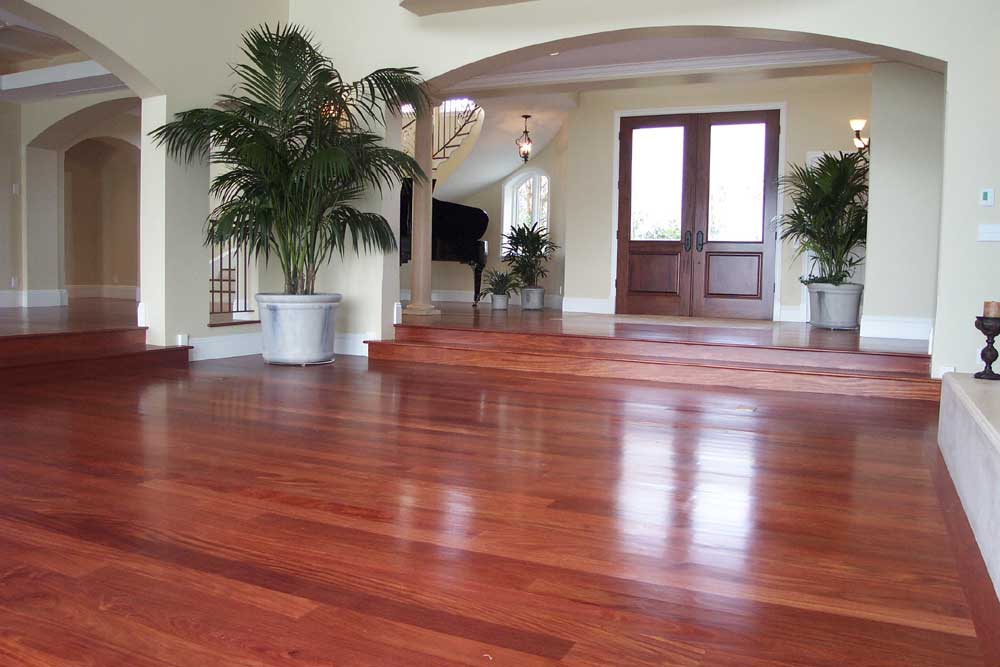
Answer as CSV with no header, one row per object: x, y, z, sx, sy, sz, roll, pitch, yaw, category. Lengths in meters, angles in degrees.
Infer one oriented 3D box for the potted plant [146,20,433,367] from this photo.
-1.801,-1.184,6.487,2.077,2.818,2.357,2,6,35,potted plant

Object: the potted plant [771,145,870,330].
3.709,-1.071,7.900,1.198,1.951,1.219,-1,1,38,potted plant

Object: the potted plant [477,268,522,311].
-0.069,-0.676,10.493,0.724,0.634,0.732,1,-1,15,potted plant

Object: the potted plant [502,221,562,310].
0.454,-0.988,10.658,0.803,1.209,0.702,-2,3,0,potted plant
